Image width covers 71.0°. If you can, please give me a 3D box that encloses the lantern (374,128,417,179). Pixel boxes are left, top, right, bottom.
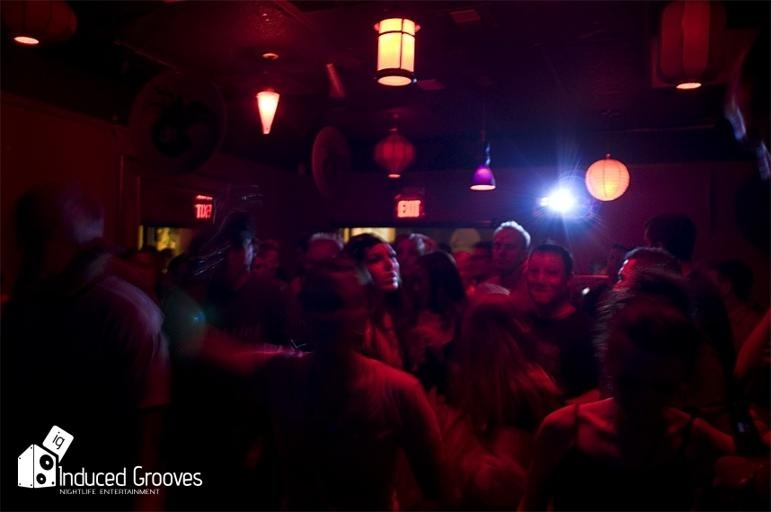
[{"bbox_3d":[0.171,-1.509,7.912,0.643,0.766,0.637,1,3,6],"label":"lantern"}]

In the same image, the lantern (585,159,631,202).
[{"bbox_3d":[3.194,-1.063,7.578,0.646,0.714,0.601,0,2,-12],"label":"lantern"}]
